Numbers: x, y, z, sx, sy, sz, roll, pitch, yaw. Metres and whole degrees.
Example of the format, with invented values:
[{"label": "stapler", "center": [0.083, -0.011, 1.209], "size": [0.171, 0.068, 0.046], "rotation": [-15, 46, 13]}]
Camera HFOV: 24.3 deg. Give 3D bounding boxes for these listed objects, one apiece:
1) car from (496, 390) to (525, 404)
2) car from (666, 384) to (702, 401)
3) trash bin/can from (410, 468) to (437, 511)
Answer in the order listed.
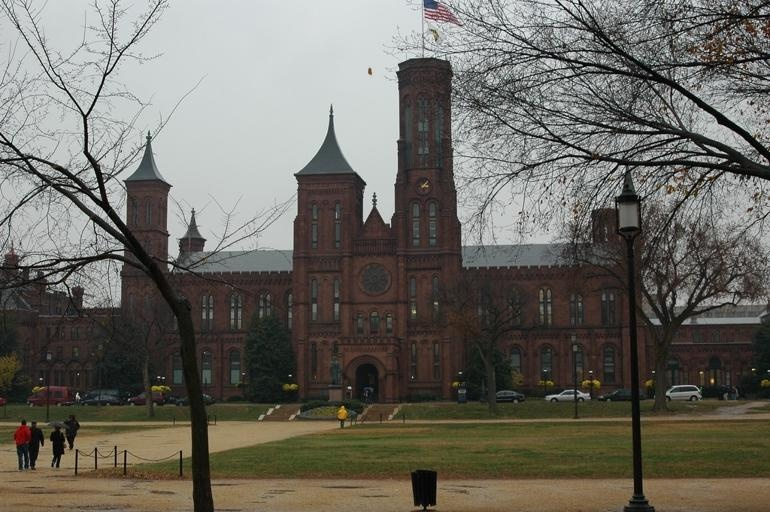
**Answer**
[{"label": "car", "center": [10.859, 12.377, 156.704], "size": [2.741, 0.833, 1.209], "rotation": [3, -4, 2]}, {"label": "car", "center": [26.241, 12.128, 157.291], "size": [2.879, 1.227, 1.614], "rotation": [1, -5, 11]}, {"label": "trash bin/can", "center": [2.095, 12.699, 97.172], "size": [1.299, 2.126, 1.679], "rotation": [-3, -8, -1]}]
